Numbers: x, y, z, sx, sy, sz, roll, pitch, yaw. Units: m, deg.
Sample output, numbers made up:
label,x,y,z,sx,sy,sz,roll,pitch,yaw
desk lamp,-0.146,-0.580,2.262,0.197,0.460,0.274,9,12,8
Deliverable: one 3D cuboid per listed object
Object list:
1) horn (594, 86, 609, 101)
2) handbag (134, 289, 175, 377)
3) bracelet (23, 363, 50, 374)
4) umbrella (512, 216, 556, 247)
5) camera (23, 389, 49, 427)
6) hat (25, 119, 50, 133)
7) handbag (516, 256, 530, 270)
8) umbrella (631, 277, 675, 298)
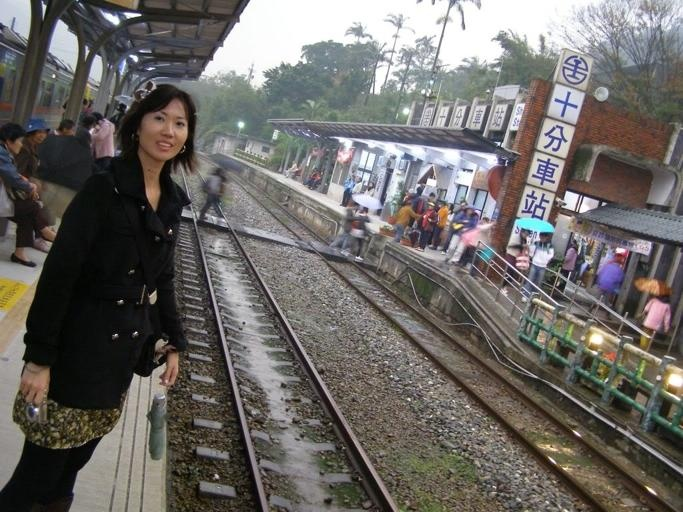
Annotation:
label,x,y,z,sx,sy,sz,roll,pitch,yaw
horn,10.718,-6.824,17.591,0.451,0.639,1.051,15,9,32
handbag,-0.950,0.393,2.151,0.142,0.392,0.302,-1,8,-5
bracelet,-1.209,0.447,1.684,0.057,0.020,0.051,2,4,-24
umbrella,6.577,-0.873,14.761,1.169,0.763,1.183,4,4,-24
camera,-1.250,0.627,1.766,0.100,0.136,0.041,-1,4,9
hat,-4.837,-2.096,6.803,0.330,0.172,0.300,-4,6,6
handbag,5.933,0.225,14.045,0.409,0.393,0.418,1,0,13
umbrella,8.288,0.832,11.384,1.014,0.498,0.289,9,7,-14
